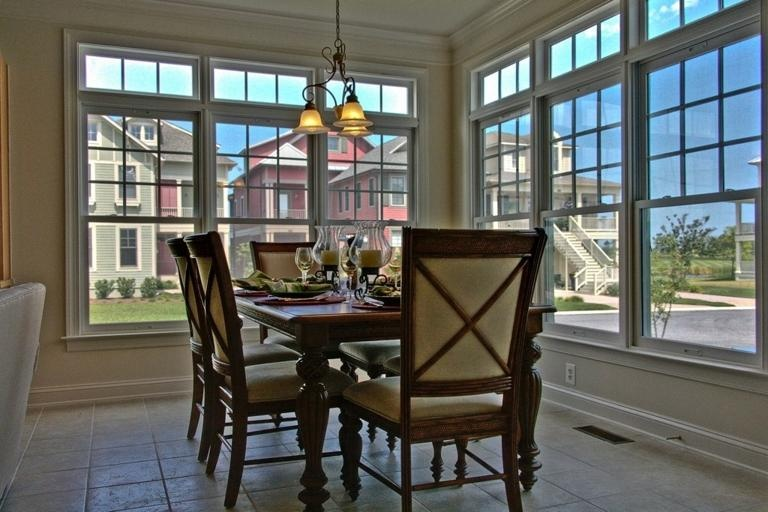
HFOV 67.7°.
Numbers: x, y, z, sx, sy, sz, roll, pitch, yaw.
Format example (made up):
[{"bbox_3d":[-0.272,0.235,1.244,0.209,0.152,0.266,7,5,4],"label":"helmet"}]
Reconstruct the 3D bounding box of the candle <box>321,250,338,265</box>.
[{"bbox_3d":[-0.352,0.013,3.670,0.100,0.067,0.102,1,3,43],"label":"candle"}]

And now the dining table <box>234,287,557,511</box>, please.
[{"bbox_3d":[-0.117,0.798,3.300,1.442,0.751,1.331,2,-9,-18],"label":"dining table"}]

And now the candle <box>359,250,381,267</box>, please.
[{"bbox_3d":[-0.080,0.013,3.215,0.115,0.075,0.106,0,1,2],"label":"candle"}]

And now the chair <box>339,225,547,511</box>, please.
[{"bbox_3d":[0.298,0.591,2.888,0.993,1.471,0.503,-2,4,-4],"label":"chair"}]
